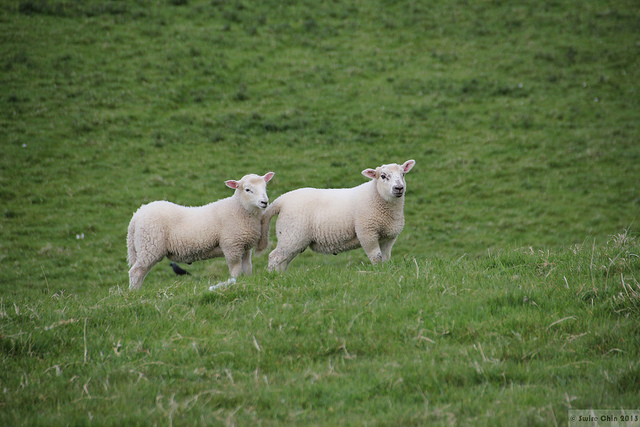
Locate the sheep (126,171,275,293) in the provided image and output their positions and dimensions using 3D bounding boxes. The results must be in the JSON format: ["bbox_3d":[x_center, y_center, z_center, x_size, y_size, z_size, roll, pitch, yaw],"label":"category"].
[{"bbox_3d":[-4.310,0.875,37.858,5.512,4.041,2.158,-6,6,6],"label":"sheep"}]
